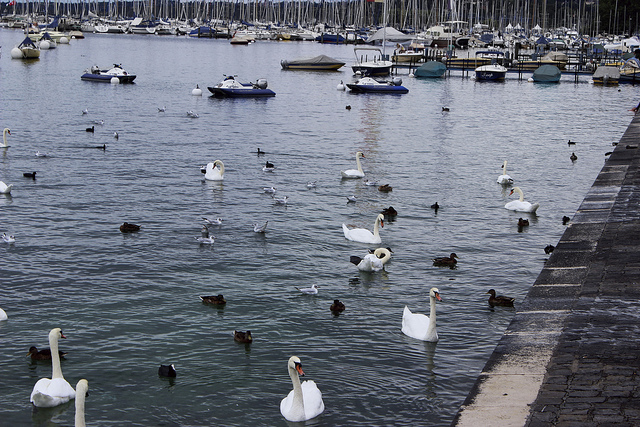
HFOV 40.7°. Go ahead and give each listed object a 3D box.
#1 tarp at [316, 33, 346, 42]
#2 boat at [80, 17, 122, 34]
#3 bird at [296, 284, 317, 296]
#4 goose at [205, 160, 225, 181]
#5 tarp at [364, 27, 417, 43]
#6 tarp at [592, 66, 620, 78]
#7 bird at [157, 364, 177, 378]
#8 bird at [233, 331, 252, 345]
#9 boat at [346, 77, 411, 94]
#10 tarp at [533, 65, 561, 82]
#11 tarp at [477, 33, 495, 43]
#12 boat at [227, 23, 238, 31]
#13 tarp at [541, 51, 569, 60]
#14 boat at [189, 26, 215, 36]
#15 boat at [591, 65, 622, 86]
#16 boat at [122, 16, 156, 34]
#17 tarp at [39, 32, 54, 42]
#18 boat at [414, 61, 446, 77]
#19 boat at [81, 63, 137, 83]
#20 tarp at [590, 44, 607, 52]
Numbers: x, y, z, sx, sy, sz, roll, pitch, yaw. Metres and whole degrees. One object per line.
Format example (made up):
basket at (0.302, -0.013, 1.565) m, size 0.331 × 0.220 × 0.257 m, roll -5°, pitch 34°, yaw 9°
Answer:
tarp at (2.529, -44.640, 218.895) m, size 7.326 × 1.514 × 2.039 m, roll 1°, pitch 12°, yaw 5°
boat at (-60.852, -52.750, 243.231) m, size 8.142 × 4.242 × 14.146 m, roll 3°, pitch 11°, yaw 12°
bird at (-0.608, 3.226, 36.564) m, size 0.890 × 0.461 × 0.524 m, roll 2°, pitch 11°, yaw 6°
goose at (-6.256, -2.610, 51.588) m, size 1.073 × 1.151 × 1.153 m, roll -1°, pitch 11°, yaw -8°
tarp at (10.260, -27.461, 131.810) m, size 5.966 × 2.155 × 10.962 m, roll 2°, pitch 11°, yaw 10°
tarp at (36.180, -18.201, 110.512) m, size 2.198 × 1.860 × 0.530 m, roll 5°, pitch -20°, yaw 4°
bird at (-5.507, 5.714, 31.397) m, size 0.634 × 0.538 × 0.379 m, roll 3°, pitch 8°, yaw 8°
bird at (-2.992, 4.774, 33.265) m, size 0.676 × 0.426 × 0.396 m, roll 23°, pitch 37°, yaw 23°
boat at (6.460, -15.222, 100.093) m, size 8.595 × 2.059 × 2.512 m, roll 2°, pitch 3°, yaw 1°
tarp at (29.113, -18.290, 113.005) m, size 3.023 × 2.110 × 1.187 m, roll 4°, pitch 12°, yaw 20°
tarp at (36.675, -39.404, 194.392) m, size 4.135 × 1.611 × 5.809 m, roll 2°, pitch 18°, yaw 14°
boat at (-24.761, -53.994, 249.829) m, size 3.694 × 1.250 × 4.433 m, roll -4°, pitch 6°, yaw -29°
tarp at (34.263, -23.529, 128.636) m, size 3.540 × 1.021 × 2.272 m, roll 4°, pitch 7°, yaw 15°
boat at (-31.535, -49.153, 232.996) m, size 3.905 × 2.399 × 11.901 m, roll -5°, pitch 12°, yaw -28°
boat at (36.039, -17.595, 110.604) m, size 3.211 × 2.348 × 1.600 m, roll -8°, pitch 14°, yaw -36°
boat at (-50.104, -52.506, 243.261) m, size 6.365 × 3.739 × 10.947 m, roll -6°, pitch 12°, yaw -32°
tarp at (-52.686, -34.253, 167.827) m, size 4.364 × 1.657 × 5.521 m, roll -2°, pitch 16°, yaw -17°
boat at (15.156, -19.994, 119.781) m, size 3.045 × 1.126 × 2.375 m, roll 2°, pitch 10°, yaw 31°
boat at (-24.523, -17.010, 101.551) m, size 5.619 × 1.938 × 3.214 m, roll 1°, pitch 8°, yaw 11°
tarp at (55.837, -33.999, 176.977) m, size 2.472 × 1.380 × 21.316 m, roll 3°, pitch 11°, yaw 16°
